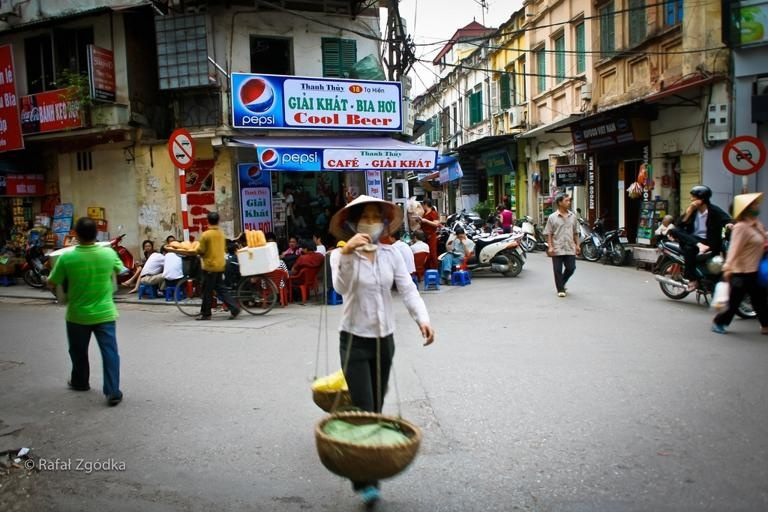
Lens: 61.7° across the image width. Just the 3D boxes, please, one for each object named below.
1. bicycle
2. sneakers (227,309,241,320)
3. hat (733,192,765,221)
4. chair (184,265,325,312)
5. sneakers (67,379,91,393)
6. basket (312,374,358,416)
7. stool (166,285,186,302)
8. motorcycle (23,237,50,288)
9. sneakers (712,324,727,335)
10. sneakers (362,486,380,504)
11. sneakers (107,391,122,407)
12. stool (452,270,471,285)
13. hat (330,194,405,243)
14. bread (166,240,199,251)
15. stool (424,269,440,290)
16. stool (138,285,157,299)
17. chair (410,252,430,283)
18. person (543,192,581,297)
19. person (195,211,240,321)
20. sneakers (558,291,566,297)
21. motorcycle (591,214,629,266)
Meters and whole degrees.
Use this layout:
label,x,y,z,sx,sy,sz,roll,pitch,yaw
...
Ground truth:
label,x,y,z,sx,sy,sz,roll,pitch,yaw
bicycle,-3.256,0.611,13.596,2.227,1.431,1.151,1,2,4
sneakers,-2.978,1.167,12.755,0.158,0.177,0.402,0,6,-15
hat,5.672,-0.828,10.153,0.427,0.160,0.426,-26,-10,-42
chair,-3.158,0.726,13.412,1.920,1.230,0.972,1,3,1
sneakers,-4.122,1.759,8.677,0.365,0.167,0.122,1,3,-6
basket,-0.547,1.446,6.736,0.366,0.231,0.437,-1,2,8
stool,-4.545,0.812,13.980,0.448,0.391,0.467,0,-2,-2
motorcycle,-9.376,0.265,17.286,0.604,1.242,1.169,-10,17,-30
sneakers,5.407,1.188,10.433,0.103,0.167,0.235,-2,-2,-27
sneakers,-0.129,2.342,6.338,0.150,0.214,0.069,5,49,1
sneakers,-3.444,1.825,8.206,0.191,0.130,0.191,-9,17,-26
stool,1.902,0.562,15.960,0.366,0.341,0.384,-1,-3,17
hat,-0.206,-0.468,6.711,0.521,0.234,0.549,-10,-36,-9
bread,-4.086,-0.198,13.077,0.446,0.102,0.458,4,1,39
stool,1.134,0.566,15.240,0.397,0.464,0.398,-1,3,10
stool,-5.566,0.832,15.158,0.368,0.317,0.382,0,5,-6
chair,0.754,0.205,15.531,0.587,0.814,0.604,-3,19,-9
person,3.788,-0.212,13.716,0.693,2.181,0.964,3,15,19
person,-3.341,0.302,12.588,0.793,1.881,0.461,-5,15,-14
sneakers,3.747,0.796,13.519,0.099,0.090,0.282,-2,-4,9
motorcycle,6.649,-0.293,18.850,0.553,1.081,1.338,-6,16,-18
